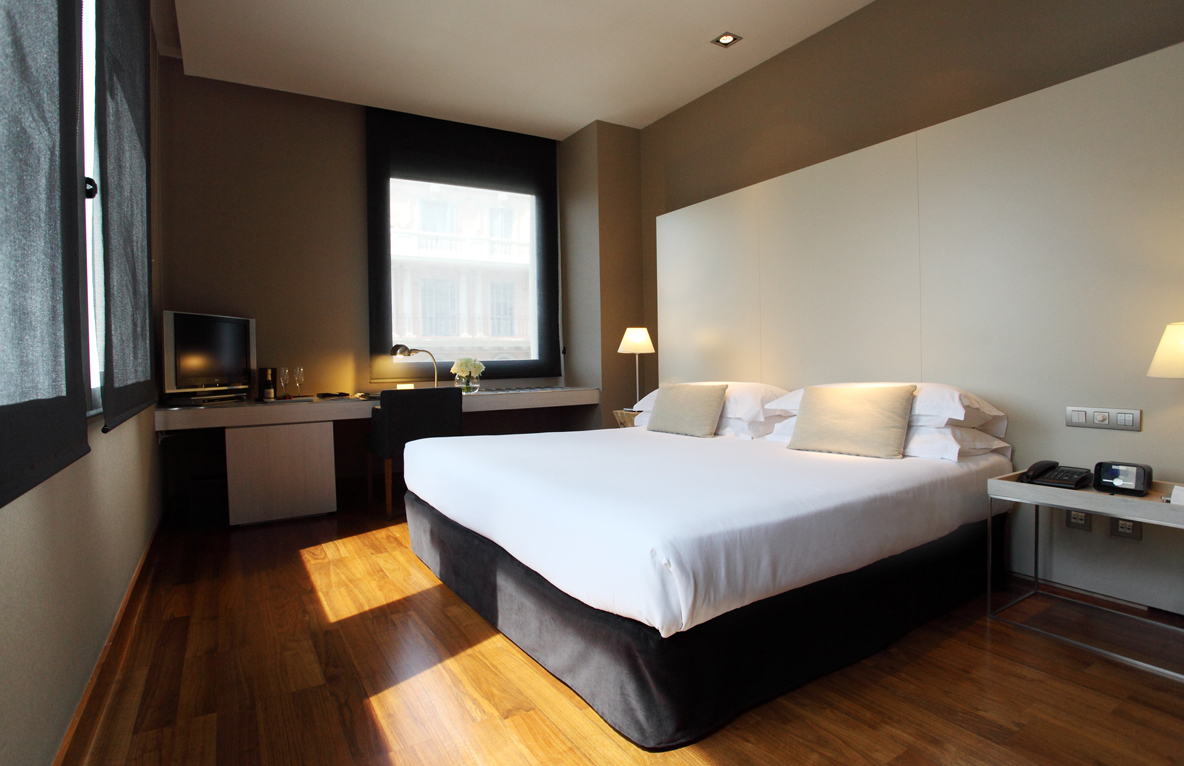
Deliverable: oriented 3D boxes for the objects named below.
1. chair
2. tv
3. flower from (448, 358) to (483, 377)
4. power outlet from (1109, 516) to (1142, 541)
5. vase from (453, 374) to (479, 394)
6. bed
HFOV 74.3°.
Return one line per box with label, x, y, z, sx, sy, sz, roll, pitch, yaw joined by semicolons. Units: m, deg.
chair;-1.208;0.473;5.783;0.773;1.196;0.753;-1;3;-25
tv;-2.565;-0.180;5.390;0.619;0.572;0.246;1;6;-2
flower;-0.997;-0.114;6.192;0.170;0.112;0.164;3;-6;-31
power outlet;2.648;0.734;3.871;0.113;0.077;0.118;1;-3;7
vase;-1.002;-0.003;6.269;0.158;0.129;0.172;1;6;-4
bed;0.710;0.765;3.694;1.865;0.899;1.965;2;-2;-32
